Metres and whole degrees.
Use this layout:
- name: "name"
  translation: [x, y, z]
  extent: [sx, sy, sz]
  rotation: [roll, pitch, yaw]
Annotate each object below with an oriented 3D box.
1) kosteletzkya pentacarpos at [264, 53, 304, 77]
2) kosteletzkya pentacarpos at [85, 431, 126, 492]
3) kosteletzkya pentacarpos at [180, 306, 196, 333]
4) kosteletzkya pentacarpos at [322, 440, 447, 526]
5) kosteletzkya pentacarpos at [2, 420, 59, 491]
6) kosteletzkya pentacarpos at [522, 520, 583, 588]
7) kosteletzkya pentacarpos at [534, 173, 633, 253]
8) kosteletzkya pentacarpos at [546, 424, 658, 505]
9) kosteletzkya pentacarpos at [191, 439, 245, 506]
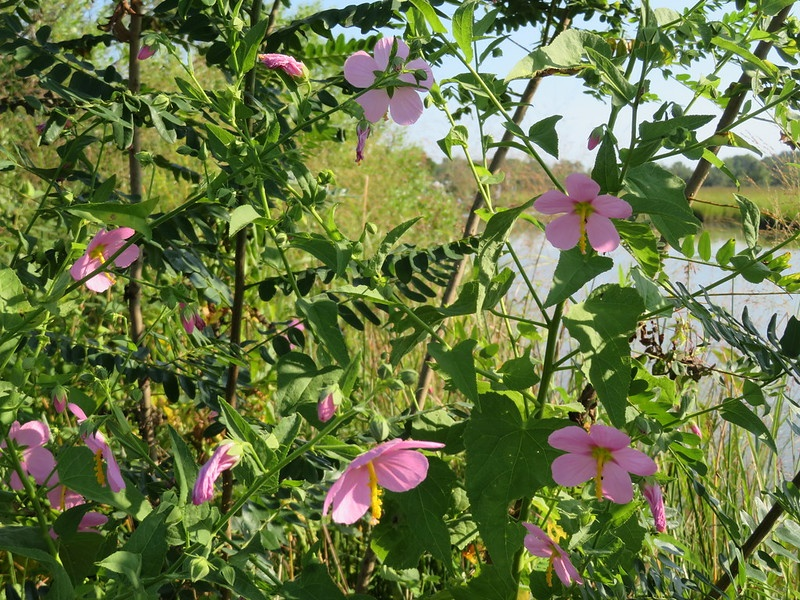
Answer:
- name: "kosteletzkya pentacarpos"
  translation: [-0.278, -0.564, 2.343]
  extent: [0.091, 0.053, 0.046]
  rotation: [18, -64, -5]
- name: "kosteletzkya pentacarpos"
  translation: [-0.659, 0.361, 2.157]
  extent: [0.055, 0.206, 0.046]
  rotation: [-7, -49, -24]
- name: "kosteletzkya pentacarpos"
  translation: [-0.556, 0.049, 2.559]
  extent: [0.024, 0.030, 0.081]
  rotation: [-28, -14, -8]
- name: "kosteletzkya pentacarpos"
  translation: [-0.040, 0.389, 2.084]
  extent: [0.193, 0.087, 0.209]
  rotation: [-17, -26, -31]
- name: "kosteletzkya pentacarpos"
  translation: [-0.875, 0.345, 2.290]
  extent: [0.099, 0.114, 0.138]
  rotation: [-9, -43, 34]
- name: "kosteletzkya pentacarpos"
  translation: [0.364, 0.602, 2.288]
  extent: [0.120, 0.099, 0.260]
  rotation: [0, -40, 24]
- name: "kosteletzkya pentacarpos"
  translation: [0.394, -0.180, 2.135]
  extent: [0.209, 0.134, 0.151]
  rotation: [18, -34, 2]
- name: "kosteletzkya pentacarpos"
  translation: [0.428, 0.357, 2.169]
  extent: [0.229, 0.099, 0.256]
  rotation: [-22, -50, 36]
- name: "kosteletzkya pentacarpos"
  translation: [-0.382, 0.349, 2.061]
  extent: [0.083, 0.151, 0.069]
  rotation: [31, 7, 32]
